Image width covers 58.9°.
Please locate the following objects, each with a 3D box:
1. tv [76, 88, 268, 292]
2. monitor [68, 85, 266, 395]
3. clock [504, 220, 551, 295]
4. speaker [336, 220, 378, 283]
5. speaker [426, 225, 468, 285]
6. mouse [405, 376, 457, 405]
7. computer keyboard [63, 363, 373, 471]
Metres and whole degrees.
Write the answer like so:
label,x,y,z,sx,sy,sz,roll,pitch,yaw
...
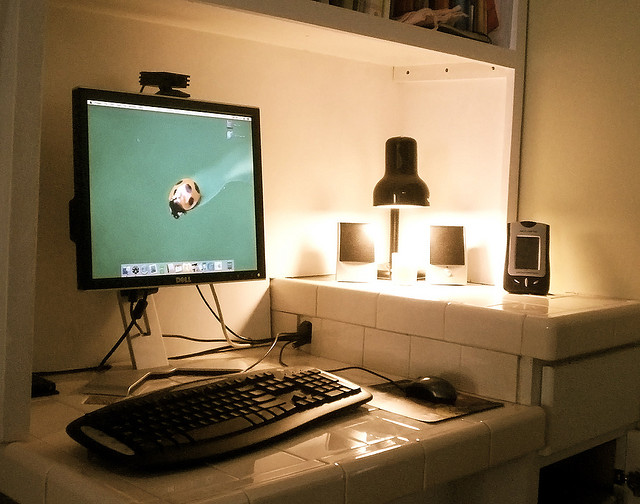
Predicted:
label,x,y,z,sx,sy,sz,roll,pitch,yaw
tv,-0.319,-0.125,1.180,0.459,0.408,0.048,1,-2,-40
monitor,-0.309,-0.130,1.199,0.408,0.408,0.078,-5,7,-33
clock,0.502,0.015,1.379,0.101,0.172,0.061,0,6,19
speaker,0.098,0.000,1.558,0.112,0.159,0.097,-2,6,0
speaker,0.344,0.013,1.535,0.136,0.182,0.092,1,-21,4
mouse,0.212,0.258,1.081,0.046,0.023,0.073,1,4,-44
computer keyboard,-0.153,0.269,0.960,0.470,0.066,0.238,-7,8,-43
